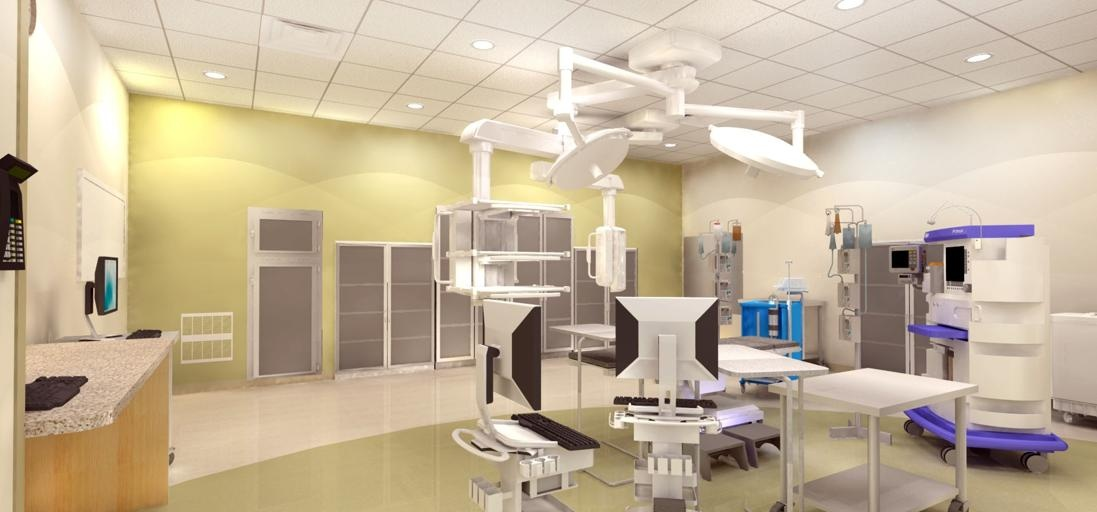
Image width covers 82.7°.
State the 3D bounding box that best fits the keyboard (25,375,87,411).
[{"bbox_3d":[-5.605,1.553,7.082,0.579,0.308,0.475,0,-3,-17],"label":"keyboard"}]

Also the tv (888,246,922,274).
[{"bbox_3d":[6.087,0.066,10.628,0.244,0.441,0.547,3,-6,-31],"label":"tv"}]
